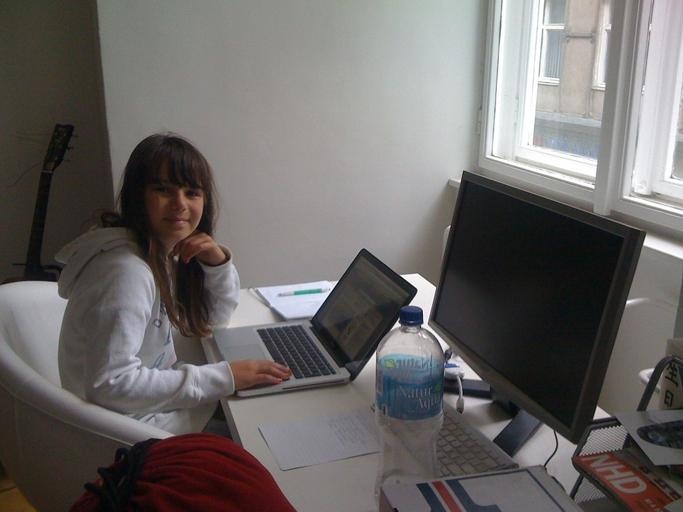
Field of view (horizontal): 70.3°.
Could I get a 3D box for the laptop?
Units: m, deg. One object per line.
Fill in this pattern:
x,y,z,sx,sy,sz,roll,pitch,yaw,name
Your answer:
-0.089,0.156,1.433,0.521,0.302,0.481,1,13,-32,laptop

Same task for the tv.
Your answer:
0.382,0.075,1.099,0.139,0.418,0.549,-11,26,-22,tv

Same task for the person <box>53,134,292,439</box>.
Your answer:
-0.484,0.077,1.444,0.662,0.827,0.585,-3,8,-11,person
